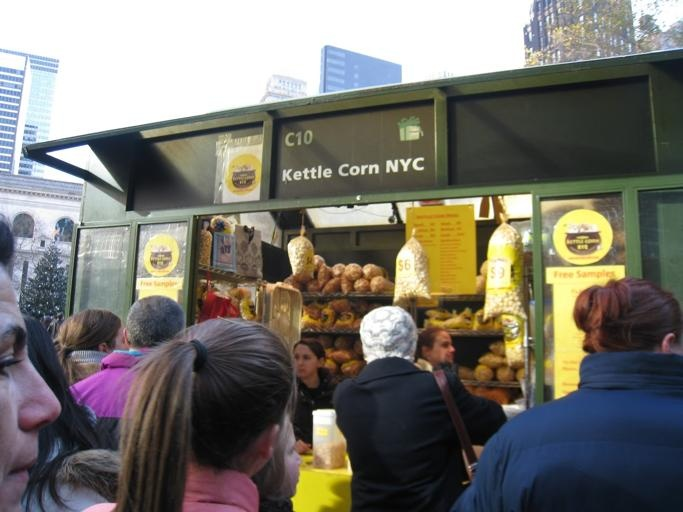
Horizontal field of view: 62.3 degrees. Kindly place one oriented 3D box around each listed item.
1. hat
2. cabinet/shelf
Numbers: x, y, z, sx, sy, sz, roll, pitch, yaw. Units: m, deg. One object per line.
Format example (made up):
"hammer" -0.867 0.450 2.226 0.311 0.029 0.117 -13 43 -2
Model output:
"hat" 0.259 0.381 2.976 0.237 0.317 0.319 2 25 8
"cabinet/shelf" 0.652 0.650 4.642 1.307 1.251 0.406 0 -2 23
